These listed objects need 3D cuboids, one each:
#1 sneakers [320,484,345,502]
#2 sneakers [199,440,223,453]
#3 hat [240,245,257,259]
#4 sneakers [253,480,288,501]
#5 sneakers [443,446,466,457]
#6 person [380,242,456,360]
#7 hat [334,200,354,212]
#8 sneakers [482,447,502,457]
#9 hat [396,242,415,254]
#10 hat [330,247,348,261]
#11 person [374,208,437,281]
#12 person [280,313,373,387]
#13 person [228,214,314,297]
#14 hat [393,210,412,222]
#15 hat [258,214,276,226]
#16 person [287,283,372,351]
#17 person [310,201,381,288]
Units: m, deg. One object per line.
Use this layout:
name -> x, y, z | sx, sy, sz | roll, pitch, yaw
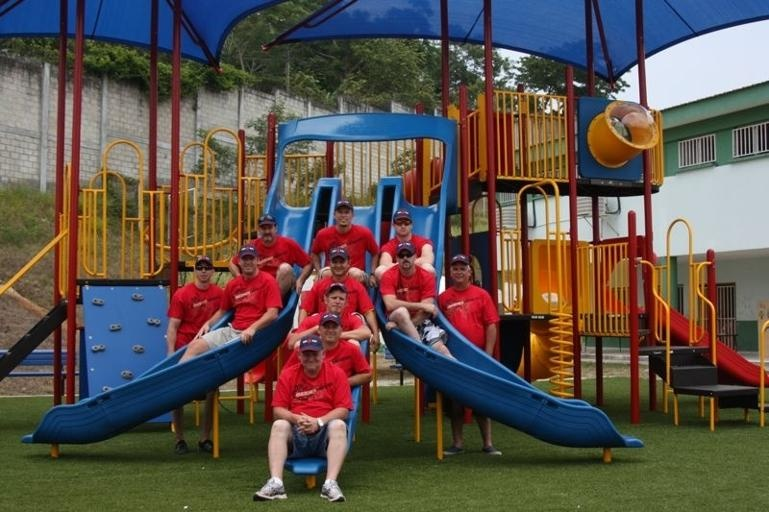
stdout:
sneakers -> -0.752, 3.408, 15.253 | 0.169, 0.160, 0.349 | 4, -10, -33
sneakers -> -2.838, 3.065, 17.161 | 0.353, 0.171, 0.158 | -2, -2, 37
hat -> -2.201, -0.075, 16.995 | 0.269, 0.242, 0.281 | 2, -5, -20
sneakers -> -1.640, 3.370, 15.313 | 0.486, 0.249, 0.224 | 6, -11, -32
sneakers -> 1.108, 3.143, 17.051 | 0.318, 0.142, 0.123 | 3, -7, -22
person -> 0.452, 0.664, 17.001 | 1.052, 1.795, 0.546 | 0, -5, 0
hat -> -0.708, -0.869, 18.032 | 0.266, 0.241, 0.595 | 0, -5, -3
sneakers -> 1.719, 3.130, 17.101 | 0.316, 0.129, 0.236 | -1, -5, 3
hat -> 0.333, -0.137, 17.175 | 0.220, 0.183, 0.384 | -1, -8, 2
hat -> -0.738, -0.044, 16.814 | 0.280, 0.200, 0.237 | 1, -5, -11
person -> 0.349, -0.025, 17.737 | 0.975, 1.585, 1.378 | -3, 8, 7
person -> -0.907, 1.507, 16.034 | 1.390, 1.281, 0.754 | 0, 2, -20
person -> -1.897, -0.003, 17.974 | 0.955, 1.396, 0.739 | -7, -27, -2
hat -> 0.289, -0.679, 17.981 | 0.280, 0.217, 0.286 | 0, -5, -7
hat -> -1.991, -0.603, 17.825 | 0.267, 0.214, 0.340 | 1, -5, -13
person -> -0.821, 1.028, 16.837 | 0.781, 0.873, 1.301 | 3, -16, 0
person -> -0.759, -0.004, 17.867 | 1.199, 1.946, 1.081 | 3, 10, 12
